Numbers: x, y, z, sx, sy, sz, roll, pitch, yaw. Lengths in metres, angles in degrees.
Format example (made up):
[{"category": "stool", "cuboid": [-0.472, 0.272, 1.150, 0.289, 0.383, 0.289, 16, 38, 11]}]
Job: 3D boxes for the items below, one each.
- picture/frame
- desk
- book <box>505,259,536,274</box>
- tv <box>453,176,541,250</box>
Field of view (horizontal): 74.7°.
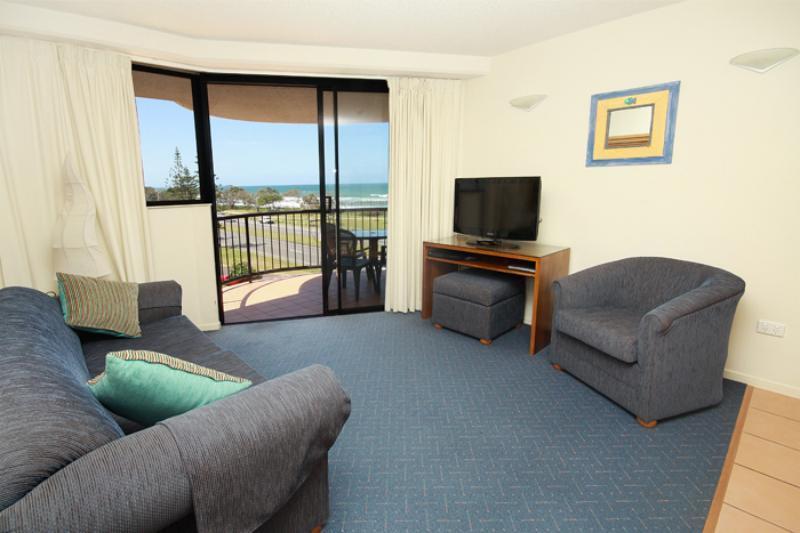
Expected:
[{"category": "picture/frame", "cuboid": [1.985, -1.209, 4.403, 0.080, 0.764, 0.752, -10, 14, -43]}, {"category": "desk", "cuboid": [0.929, 0.208, 5.252, 1.269, 0.902, 0.710, 12, 19, 38]}, {"category": "book", "cuboid": [1.123, 0.009, 4.784, 0.156, 0.096, 0.359, -9, 14, -42]}, {"category": "tv", "cuboid": [0.969, -0.517, 5.039, 0.675, 0.478, 0.178, 11, 19, 37]}]
